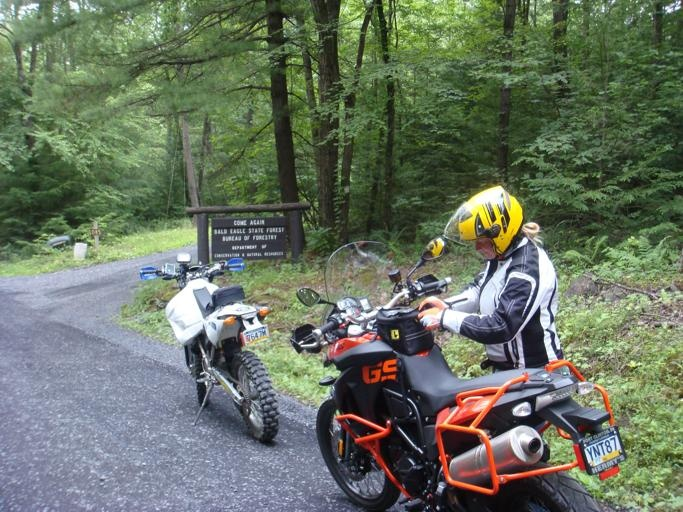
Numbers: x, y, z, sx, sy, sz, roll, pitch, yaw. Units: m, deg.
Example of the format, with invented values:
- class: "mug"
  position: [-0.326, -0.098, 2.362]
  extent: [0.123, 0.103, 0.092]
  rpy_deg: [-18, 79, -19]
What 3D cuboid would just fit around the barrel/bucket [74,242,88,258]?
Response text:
- class: "barrel/bucket"
  position: [-10.336, -0.236, 22.875]
  extent: [0.397, 0.623, 0.691]
  rpy_deg: [-3, 13, -11]
